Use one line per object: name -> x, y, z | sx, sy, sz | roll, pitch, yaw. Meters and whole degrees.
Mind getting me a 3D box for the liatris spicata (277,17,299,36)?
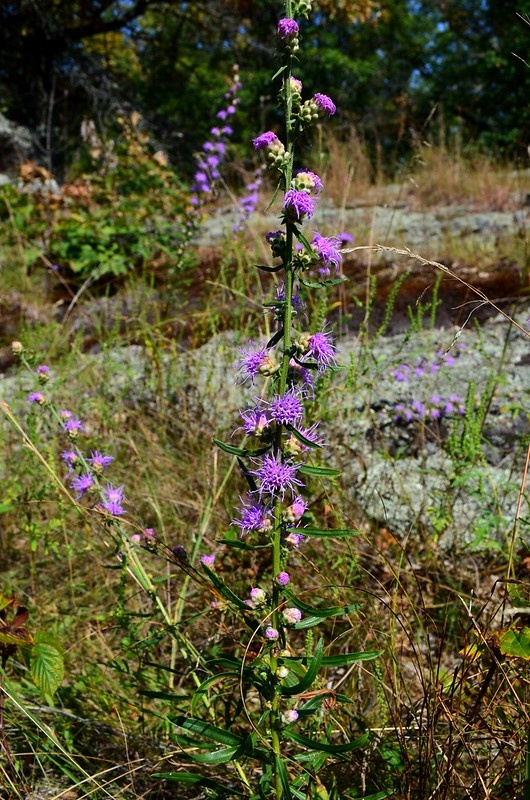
liatris spicata -> 0.057, -0.923, 2.286 | 0.059, 0.051, 0.051 | -5, 17, -14
